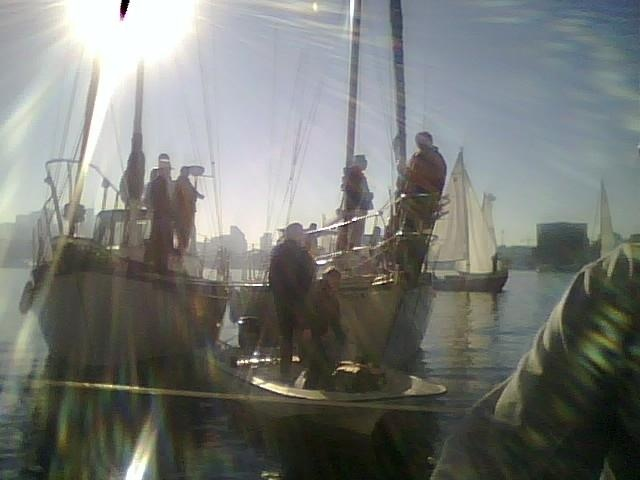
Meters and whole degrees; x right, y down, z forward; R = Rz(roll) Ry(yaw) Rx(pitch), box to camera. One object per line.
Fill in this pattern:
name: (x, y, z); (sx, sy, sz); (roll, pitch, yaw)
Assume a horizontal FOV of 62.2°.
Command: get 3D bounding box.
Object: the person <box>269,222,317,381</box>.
person: (-0.242, 0.682, 6.399); (0.646, 1.827, 0.538); (11, 19, 44)
